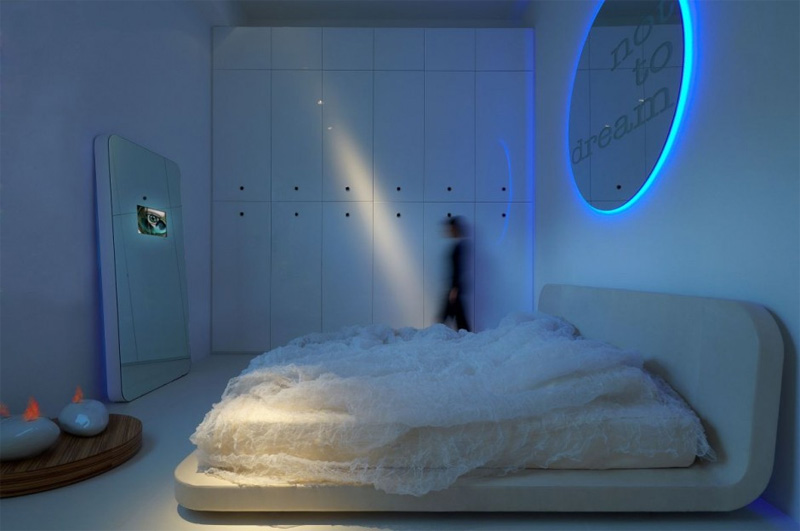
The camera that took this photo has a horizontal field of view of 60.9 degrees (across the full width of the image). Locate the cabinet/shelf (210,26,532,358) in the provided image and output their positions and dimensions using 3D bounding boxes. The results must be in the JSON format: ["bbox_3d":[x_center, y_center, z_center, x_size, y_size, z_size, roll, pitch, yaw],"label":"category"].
[{"bbox_3d":[-0.176,-0.545,4.445,1.903,2.051,0.692,-1,21,-7],"label":"cabinet/shelf"}]
